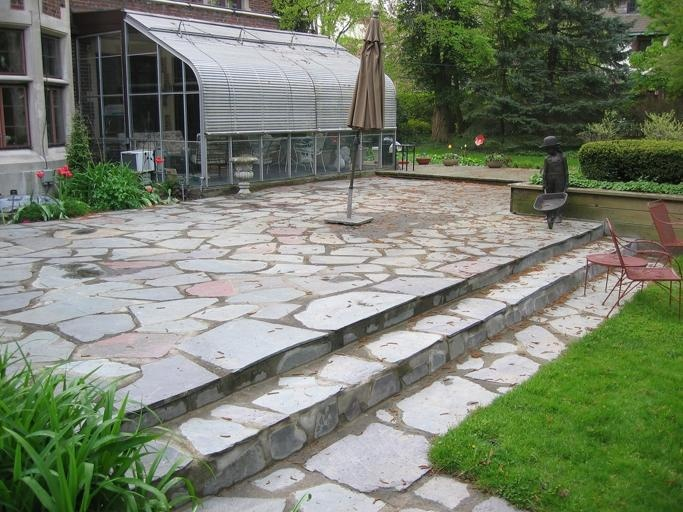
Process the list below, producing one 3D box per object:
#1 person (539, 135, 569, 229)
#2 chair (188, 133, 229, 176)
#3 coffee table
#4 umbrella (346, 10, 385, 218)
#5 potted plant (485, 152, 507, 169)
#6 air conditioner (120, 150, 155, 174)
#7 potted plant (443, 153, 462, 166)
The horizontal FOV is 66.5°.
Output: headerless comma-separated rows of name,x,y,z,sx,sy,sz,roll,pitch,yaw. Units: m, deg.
person,4.289,-1.822,10.432,0.517,1.113,0.759,4,15,21
chair,-3.589,-2.746,14.429,1.163,1.127,0.557,-6,15,-19
coffee table,3.760,0.262,7.171,0.936,0.469,0.830,-8,19,-15
umbrella,0.476,-3.184,9.825,0.638,2.660,0.702,0,14,6
potted plant,6.649,-4.011,22.328,1.136,0.592,0.992,-1,7,-3
air conditioner,-5.471,-2.572,14.243,0.836,0.632,0.601,-8,15,-27
potted plant,4.793,-4.175,22.582,0.674,0.402,0.674,0,6,3
